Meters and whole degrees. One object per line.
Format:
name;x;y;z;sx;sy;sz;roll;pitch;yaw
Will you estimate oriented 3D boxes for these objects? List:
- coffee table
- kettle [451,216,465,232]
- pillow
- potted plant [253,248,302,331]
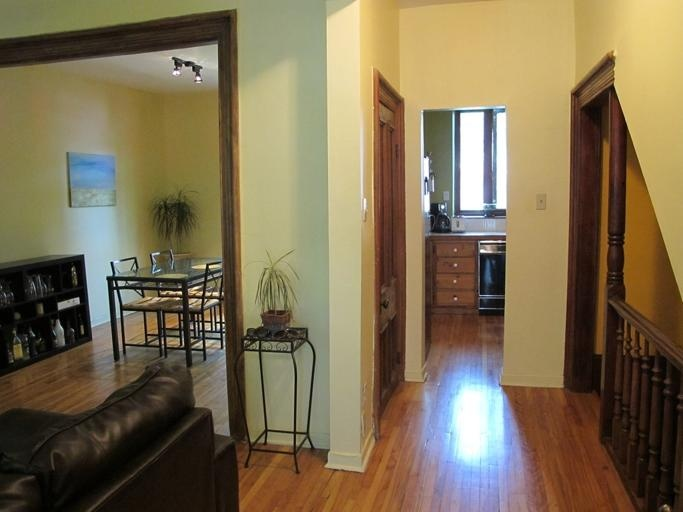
coffee table;-0.470;0.929;3.455;0.570;0.898;0.366;0;9;11
kettle;1.626;-0.445;7.138;0.166;0.203;0.186;0;0;8
pillow;-0.904;0.704;2.065;0.237;0.153;0.468;9;20;22
potted plant;-0.448;0.233;3.458;0.302;0.521;0.251;-2;9;-2
